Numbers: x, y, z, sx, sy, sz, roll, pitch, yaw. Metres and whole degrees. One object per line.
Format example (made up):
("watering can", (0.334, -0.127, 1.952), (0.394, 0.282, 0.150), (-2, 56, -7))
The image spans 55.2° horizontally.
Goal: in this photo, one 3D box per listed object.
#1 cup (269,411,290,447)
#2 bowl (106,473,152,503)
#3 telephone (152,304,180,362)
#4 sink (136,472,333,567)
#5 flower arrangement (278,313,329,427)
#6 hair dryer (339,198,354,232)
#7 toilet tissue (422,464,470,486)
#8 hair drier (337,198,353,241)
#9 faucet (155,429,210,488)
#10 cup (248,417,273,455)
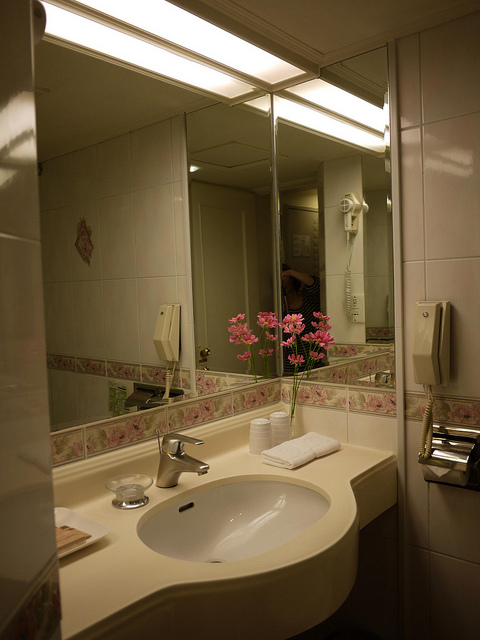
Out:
("cup", (0.135, 0.371, 1.554), (0.079, 0.101, 0.085), (-1, 0, 0))
("bowl", (-0.274, 0.423, 1.143), (0.108, 0.044, 0.110), (-1, 1, 0))
("telephone", (-0.233, 0.041, 1.442), (0.063, 0.188, 0.057), (4, 3, 38))
("sink", (-0.012, 0.522, 1.204), (0.482, 0.163, 0.255), (-1, 1, -12))
("flower arrangement", (0.211, 0.179, 1.738), (0.125, 0.403, 0.234), (-1, 1, -34))
("hair dryer", (0.379, -0.372, 1.631), (0.013, 0.117, 0.068), (-1, 1, -29))
("toilet tissue", (0.593, 0.450, 1.331), (0.127, 0.065, 0.032), (0, 1, 38))
("hair drier", (0.376, -0.360, 1.636), (0.013, 0.146, 0.064), (-1, 1, -30))
("faucet", (-0.152, 0.376, 1.194), (0.180, 0.166, 0.059), (9, 10, 39))
("cup", (0.065, 0.384, 1.507), (0.085, 0.102, 0.092), (0, -2, 0))
